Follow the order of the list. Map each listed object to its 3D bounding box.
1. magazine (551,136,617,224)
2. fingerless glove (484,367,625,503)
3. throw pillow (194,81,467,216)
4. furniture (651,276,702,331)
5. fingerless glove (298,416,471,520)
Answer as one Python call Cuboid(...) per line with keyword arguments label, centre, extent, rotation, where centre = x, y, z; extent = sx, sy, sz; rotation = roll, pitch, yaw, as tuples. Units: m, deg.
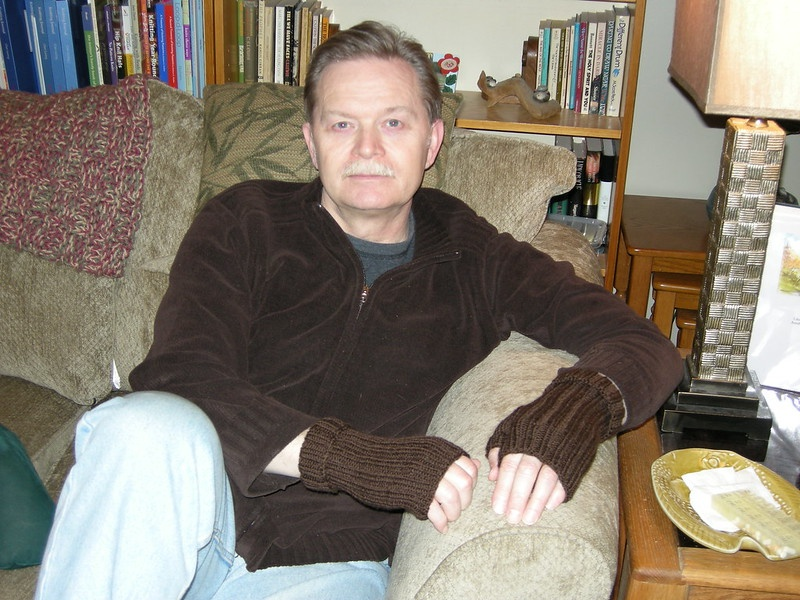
Cuboid(label="magazine", centre=(0.686, -0.456, 2.718), extent=(0.202, 0.242, 0.204), rotation=(8, 23, 35))
Cuboid(label="fingerless glove", centre=(0.277, 0.254, 1.244), extent=(0.243, 0.100, 0.167), rotation=(-36, 58, -29))
Cuboid(label="throw pillow", centre=(-0.237, -0.417, 2.030), extent=(0.783, 0.196, 0.635), rotation=(-11, -14, -6))
Cuboid(label="furniture", centre=(0.888, 0.009, 2.199), extent=(0.125, 0.133, 0.125), rotation=(4, 46, 7))
Cuboid(label="fingerless glove", centre=(-0.063, 0.290, 1.209), extent=(0.198, 0.142, 0.332), rotation=(-26, 2, -29))
